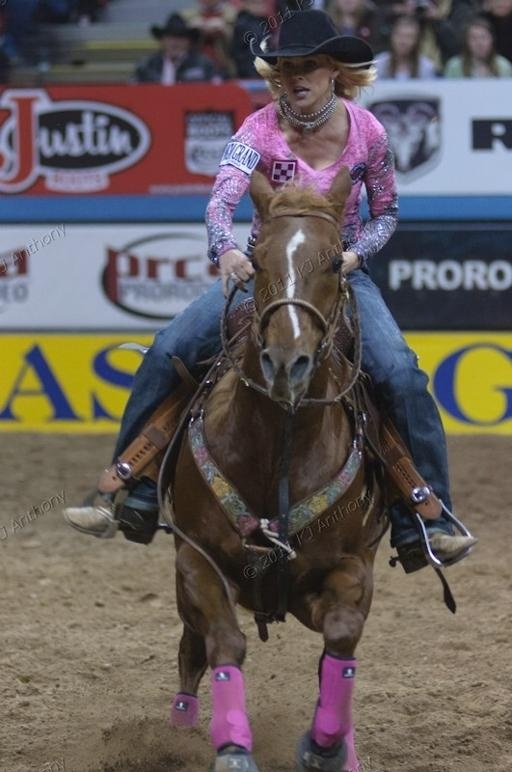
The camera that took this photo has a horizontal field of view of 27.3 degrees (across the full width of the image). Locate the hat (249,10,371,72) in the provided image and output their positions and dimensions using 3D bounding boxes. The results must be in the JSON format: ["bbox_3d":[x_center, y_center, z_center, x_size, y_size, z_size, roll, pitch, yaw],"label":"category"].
[{"bbox_3d":[0.193,-1.148,3.451,0.372,0.178,0.292,2,9,3],"label":"hat"}]

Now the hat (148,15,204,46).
[{"bbox_3d":[-0.563,-2.414,7.192,0.258,0.264,0.096,4,70,-7],"label":"hat"}]

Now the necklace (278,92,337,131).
[{"bbox_3d":[0.165,-0.900,3.486,0.190,0.118,0.122,2,9,2],"label":"necklace"}]

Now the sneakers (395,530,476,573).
[{"bbox_3d":[0.594,0.592,3.767,0.366,0.167,0.113,-15,63,31],"label":"sneakers"}]

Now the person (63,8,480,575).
[{"bbox_3d":[0.083,-0.381,3.701,1.400,1.799,1.142,3,14,12],"label":"person"}]
